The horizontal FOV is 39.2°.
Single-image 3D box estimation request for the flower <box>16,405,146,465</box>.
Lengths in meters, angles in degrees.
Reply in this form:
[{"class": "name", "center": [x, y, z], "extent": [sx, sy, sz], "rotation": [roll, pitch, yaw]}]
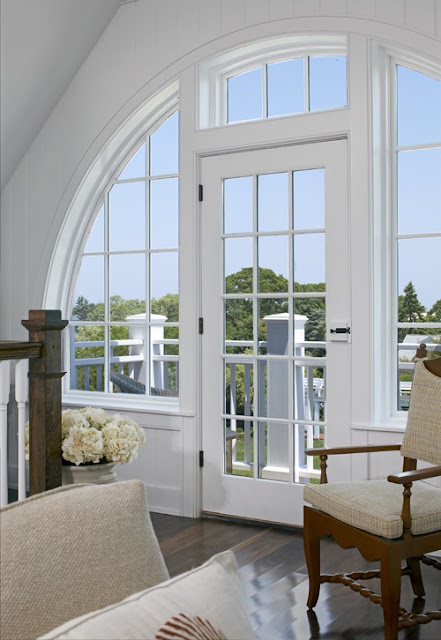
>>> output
[{"class": "flower", "center": [-0.514, 0.496, 2.629], "extent": [0.391, 0.213, 0.323], "rotation": [0, -1, -28]}]
